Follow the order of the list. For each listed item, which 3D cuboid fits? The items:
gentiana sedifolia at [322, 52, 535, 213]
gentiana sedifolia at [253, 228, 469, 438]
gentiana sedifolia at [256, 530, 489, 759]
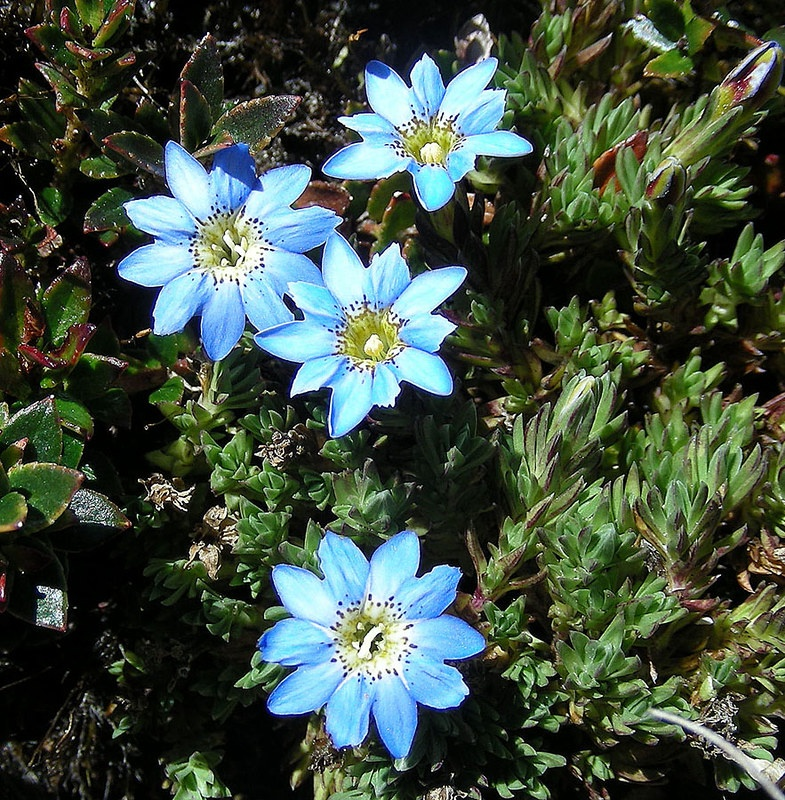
[{"bbox_3d":[0.029,-0.620,2.045,0.459,0.530,0.176,-17,86,12],"label":"gentiana sedifolia"},{"bbox_3d":[-0.063,-0.147,1.785,0.490,0.431,0.165,-11,57,-13],"label":"gentiana sedifolia"},{"bbox_3d":[-0.049,0.455,1.607,0.498,0.135,0.416,3,77,4],"label":"gentiana sedifolia"}]
